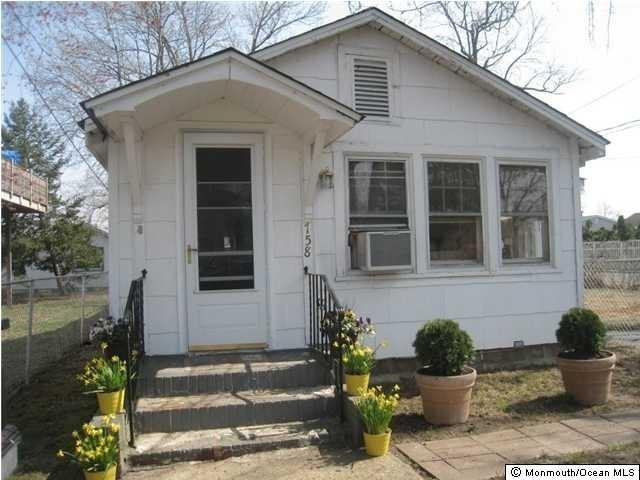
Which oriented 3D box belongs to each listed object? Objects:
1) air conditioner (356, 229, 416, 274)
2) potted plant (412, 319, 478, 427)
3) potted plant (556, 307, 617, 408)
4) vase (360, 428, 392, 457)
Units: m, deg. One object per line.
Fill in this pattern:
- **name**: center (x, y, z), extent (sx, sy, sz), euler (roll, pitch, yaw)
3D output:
- **air conditioner**: center (0.949, 0.149, 7.535), extent (0.736, 0.566, 0.430), euler (-1, -3, -18)
- **potted plant**: center (1.572, 1.664, 6.623), extent (0.859, 1.243, 0.863), euler (3, -6, -27)
- **potted plant**: center (3.544, 1.555, 6.876), extent (0.706, 1.273, 0.386), euler (-1, -3, 18)
- **vase**: center (0.623, 2.231, 5.660), extent (0.228, 0.194, 0.265), euler (-1, -11, 0)
